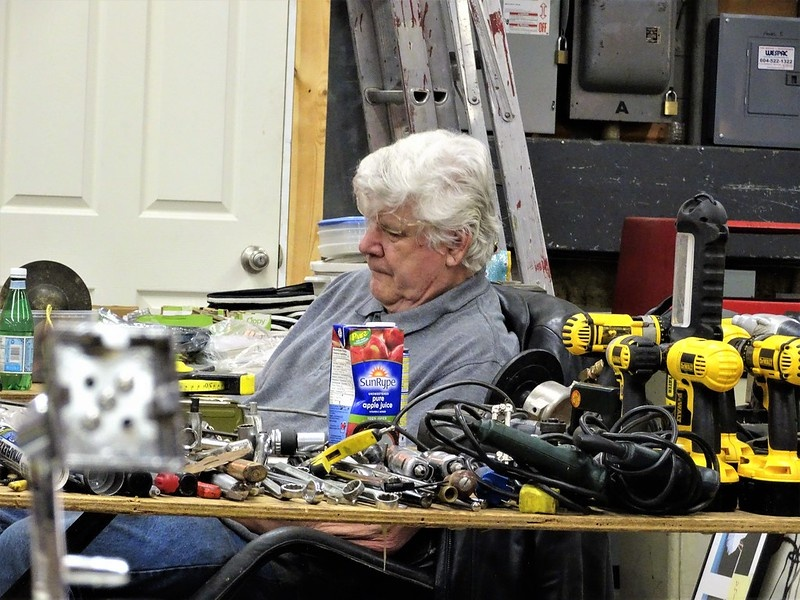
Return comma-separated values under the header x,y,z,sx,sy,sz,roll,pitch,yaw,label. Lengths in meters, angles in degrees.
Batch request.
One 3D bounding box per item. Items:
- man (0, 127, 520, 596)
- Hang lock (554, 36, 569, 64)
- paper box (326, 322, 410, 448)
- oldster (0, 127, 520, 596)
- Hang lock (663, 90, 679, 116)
x,y,z,sx,sy,sz,roll,pitch,yaw,label
-0.427,0.080,2.925,1.159,1.523,0.789,13,-4,-29,man
0.668,-1.026,4.536,0.042,0.116,0.153,3,7,14,Hang lock
-0.067,0.199,2.247,0.162,0.283,0.182,-1,0,3,paper box
-0.420,0.094,2.906,1.159,1.523,0.789,13,-4,-29,oldster
1.134,-0.823,4.598,0.045,0.116,0.123,5,7,30,Hang lock
